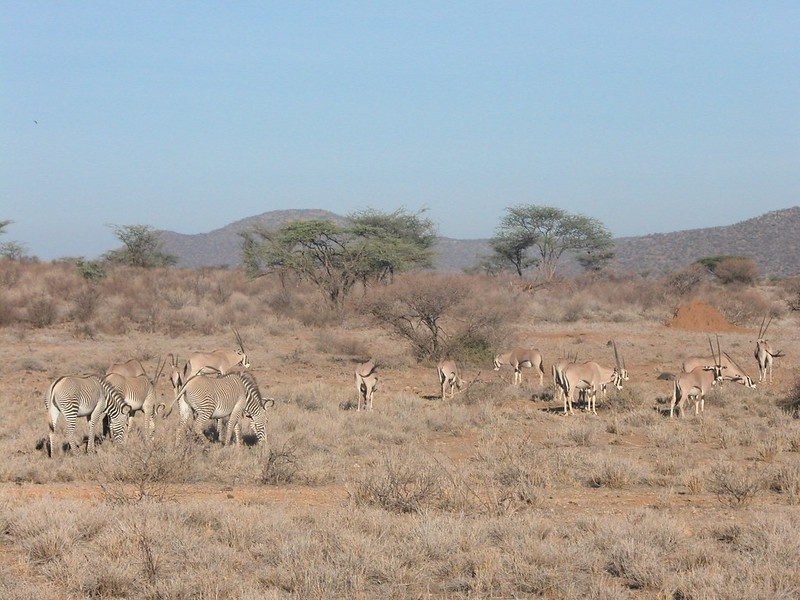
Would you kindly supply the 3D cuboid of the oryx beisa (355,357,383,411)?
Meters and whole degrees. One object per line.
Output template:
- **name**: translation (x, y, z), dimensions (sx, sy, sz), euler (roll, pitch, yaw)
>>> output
- **oryx beisa**: translation (-0.912, 2.266, 32.879), dimensions (0.514, 1.244, 1.232), euler (0, 0, -2)

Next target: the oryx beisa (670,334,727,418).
- **oryx beisa**: translation (7.868, 2.332, 32.905), dimensions (1.188, 1.182, 2.970), euler (0, 0, 21)
